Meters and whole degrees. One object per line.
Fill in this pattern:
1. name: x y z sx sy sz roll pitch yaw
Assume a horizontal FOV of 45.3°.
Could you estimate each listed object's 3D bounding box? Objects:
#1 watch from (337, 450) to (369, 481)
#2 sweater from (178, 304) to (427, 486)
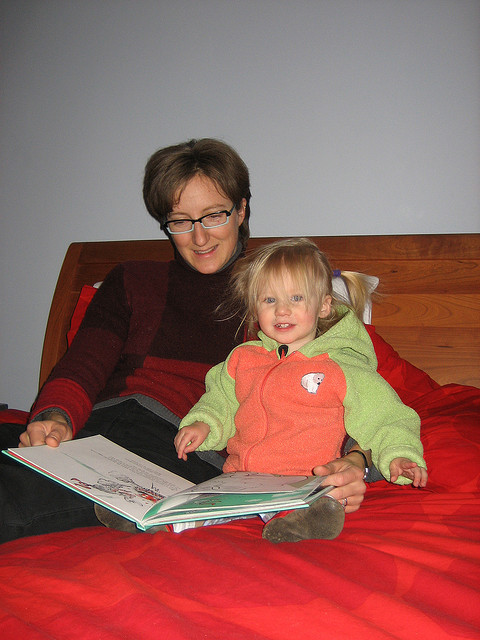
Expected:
1. watch: 0.206 0.258 1.015 0.016 0.051 0.059 17 -2 -5
2. sweater: 0.131 0.159 1.143 0.559 0.350 0.275 5 14 41
